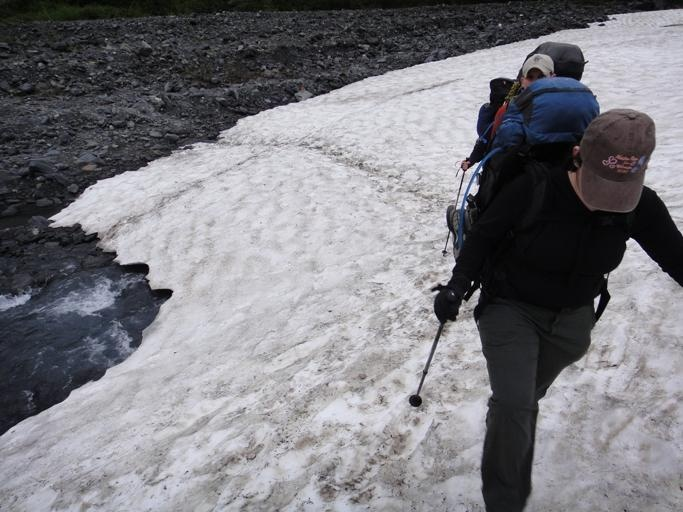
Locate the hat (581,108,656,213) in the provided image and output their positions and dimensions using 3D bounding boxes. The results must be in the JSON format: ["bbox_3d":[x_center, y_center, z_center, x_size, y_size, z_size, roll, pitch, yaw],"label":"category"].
[{"bbox_3d":[2.444,-0.927,4.615,0.726,0.529,0.911,13,60,8],"label":"hat"}]

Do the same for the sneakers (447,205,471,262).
[{"bbox_3d":[1.226,-0.305,5.673,0.245,0.259,0.539,-1,73,8],"label":"sneakers"}]

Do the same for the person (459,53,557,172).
[{"bbox_3d":[1.836,-1.976,6.779,0.624,1.508,1.158,43,45,10],"label":"person"}]
